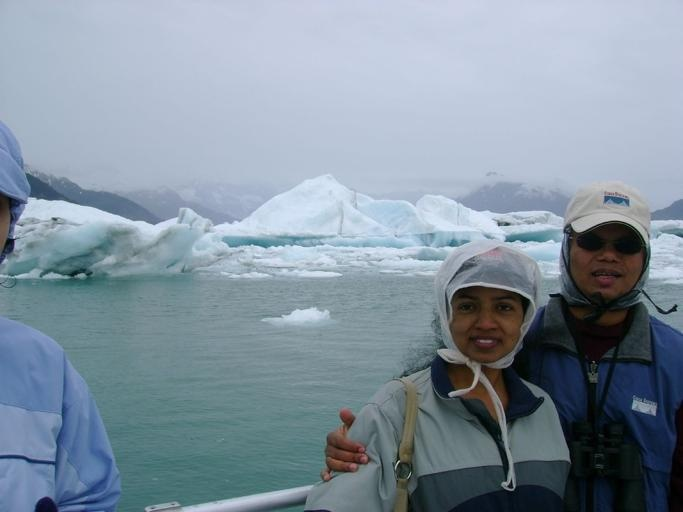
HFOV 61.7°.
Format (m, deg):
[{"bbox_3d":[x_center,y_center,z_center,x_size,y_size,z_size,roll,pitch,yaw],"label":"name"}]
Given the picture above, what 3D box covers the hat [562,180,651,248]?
[{"bbox_3d":[1.012,-0.177,2.163,0.300,0.177,0.374,10,5,10],"label":"hat"}]
